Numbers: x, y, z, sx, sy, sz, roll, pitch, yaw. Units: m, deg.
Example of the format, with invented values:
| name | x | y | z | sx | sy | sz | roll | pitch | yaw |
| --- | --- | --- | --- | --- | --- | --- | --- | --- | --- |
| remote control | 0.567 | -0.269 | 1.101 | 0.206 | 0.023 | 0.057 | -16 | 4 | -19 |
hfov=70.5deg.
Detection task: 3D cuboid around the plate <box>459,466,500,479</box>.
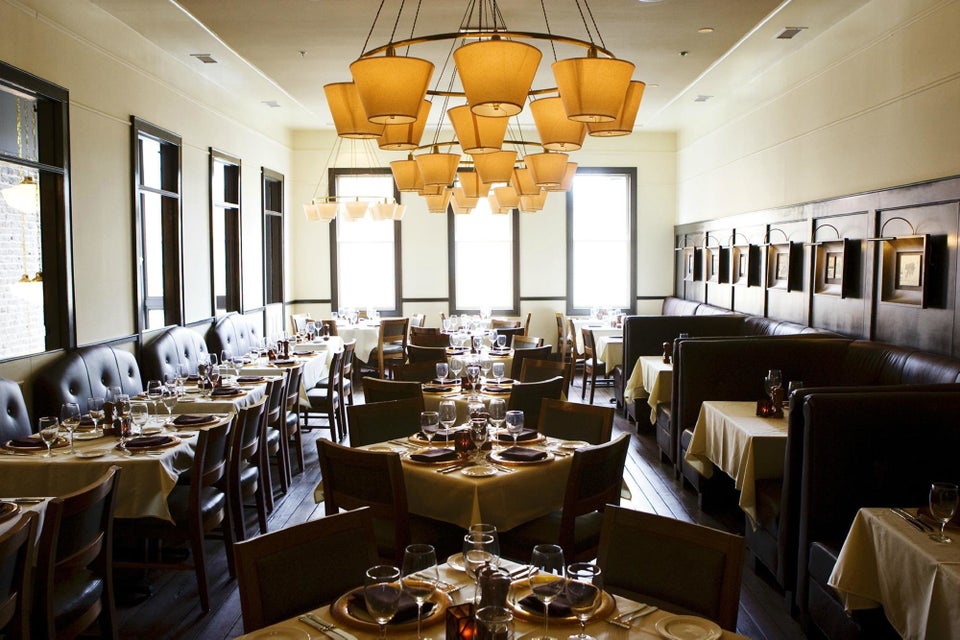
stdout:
| name | x | y | z | sx | sy | sz | roll | pitch | yaw |
| --- | --- | --- | --- | --- | --- | --- | --- | --- | --- |
| plate | -0.003 | 0.972 | 4.316 | 0.240 | 0.034 | 0.174 | 0 | 4 | -2 |
